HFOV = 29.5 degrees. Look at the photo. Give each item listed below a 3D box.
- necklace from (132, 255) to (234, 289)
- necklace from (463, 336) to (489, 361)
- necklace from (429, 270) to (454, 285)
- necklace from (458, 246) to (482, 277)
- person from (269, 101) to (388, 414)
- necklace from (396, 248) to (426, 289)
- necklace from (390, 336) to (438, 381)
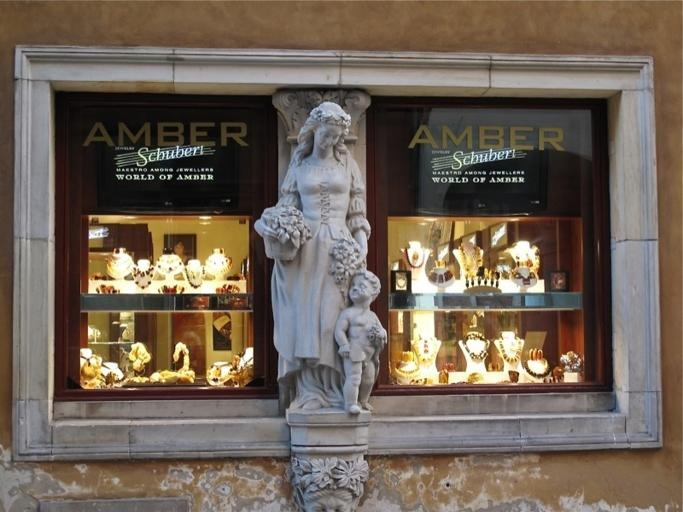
[{"bbox_3d":[-1.499,0.139,12.098,0.925,0.322,0.095,-1,-1,5],"label":"necklace"},{"bbox_3d":[1.285,0.873,12.238,0.219,0.229,0.082,-18,0,-11],"label":"necklace"},{"bbox_3d":[0.948,0.213,12.246,0.222,0.132,0.127,1,-5,-7],"label":"necklace"},{"bbox_3d":[1.226,-0.012,12.366,0.255,0.133,0.324,6,27,7],"label":"necklace"},{"bbox_3d":[-0.180,0.008,11.546,0.888,2.718,0.439,-1,-1,-4],"label":"person"},{"bbox_3d":[0.671,0.119,12.164,0.326,0.602,0.317,1,-3,5],"label":"necklace"},{"bbox_3d":[0.720,0.971,12.127,0.376,0.434,0.137,5,-5,-7],"label":"necklace"}]
